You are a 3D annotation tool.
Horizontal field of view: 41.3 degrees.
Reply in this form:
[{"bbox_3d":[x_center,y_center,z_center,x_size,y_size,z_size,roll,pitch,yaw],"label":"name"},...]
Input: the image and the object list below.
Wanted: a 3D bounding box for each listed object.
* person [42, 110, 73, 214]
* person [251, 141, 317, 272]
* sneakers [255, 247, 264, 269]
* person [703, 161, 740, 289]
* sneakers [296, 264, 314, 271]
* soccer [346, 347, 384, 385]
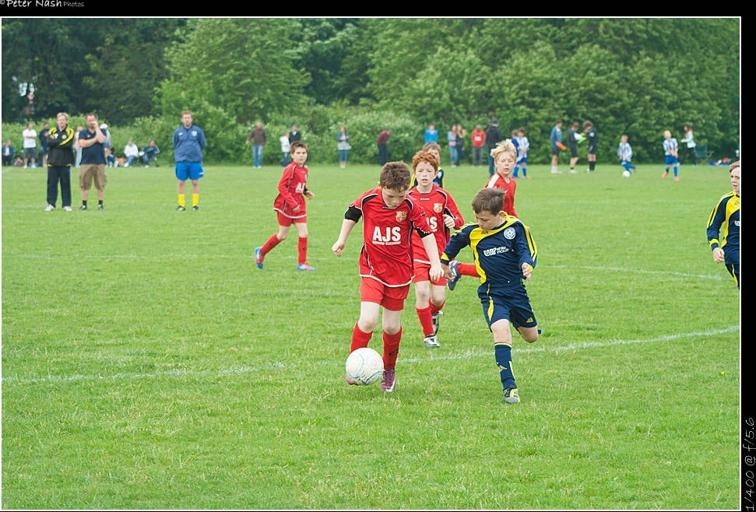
[{"bbox_3d":[-6.450,-1.882,20.327,0.663,2.125,1.593,-3,13,-18],"label":"person"},{"bbox_3d":[-1.372,-0.773,15.710,0.707,2.079,0.879,-9,16,-37],"label":"person"},{"bbox_3d":[-1.900,0.031,16.121,0.166,0.367,0.129,11,20,36],"label":"sneakers"},{"bbox_3d":[4.334,-0.383,12.591,0.425,1.746,1.228,5,13,19],"label":"person"},{"bbox_3d":[-1.185,0.171,16.116,0.297,0.122,0.099,0,6,-5],"label":"sneakers"},{"bbox_3d":[-0.152,1.245,11.349,0.394,0.300,0.403,30,44,33],"label":"soccer"}]
